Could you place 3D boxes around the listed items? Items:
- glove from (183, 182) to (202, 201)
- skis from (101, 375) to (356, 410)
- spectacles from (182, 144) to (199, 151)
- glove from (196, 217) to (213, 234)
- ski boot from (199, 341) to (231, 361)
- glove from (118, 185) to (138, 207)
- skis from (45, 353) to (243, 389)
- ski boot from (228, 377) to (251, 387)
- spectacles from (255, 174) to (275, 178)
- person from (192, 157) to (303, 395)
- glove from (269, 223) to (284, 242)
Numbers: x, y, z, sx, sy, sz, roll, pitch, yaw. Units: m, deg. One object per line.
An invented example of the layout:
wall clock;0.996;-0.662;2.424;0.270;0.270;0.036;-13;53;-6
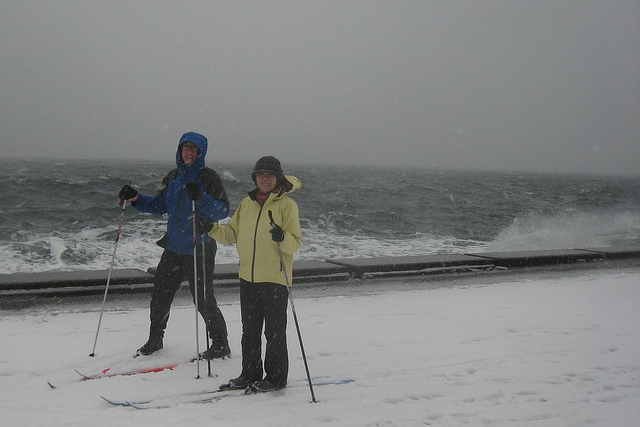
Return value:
glove;-1.373;-0.240;6.066;0.167;0.190;0.085;-1;14;-11
skis;-1.037;1.899;5.865;2.725;0.138;0.293;1;-3;-10
spectacles;-1.473;-0.742;6.297;0.169;0.070;0.025;1;14;-3
glove;-1.275;0.131;6.019;0.099;0.160;0.266;-10;18;-40
ski boot;-1.270;1.603;6.542;0.392;0.250;0.140;4;-3;-19
glove;-2.244;-0.187;6.498;0.107;0.131;0.329;10;-44;-16
skis;-1.990;1.765;6.203;2.587;0.183;0.267;-2;7;-21
ski boot;-0.871;1.814;6.015;0.236;0.094;0.082;3;-3;1
spectacles;-0.565;-0.394;5.881;0.164;0.033;0.019;1;14;-5
person;-0.641;0.653;5.956;0.851;2.462;0.766;-1;15;-11
glove;-0.451;0.204;5.720;0.056;0.154;0.116;-17;-11;-45
